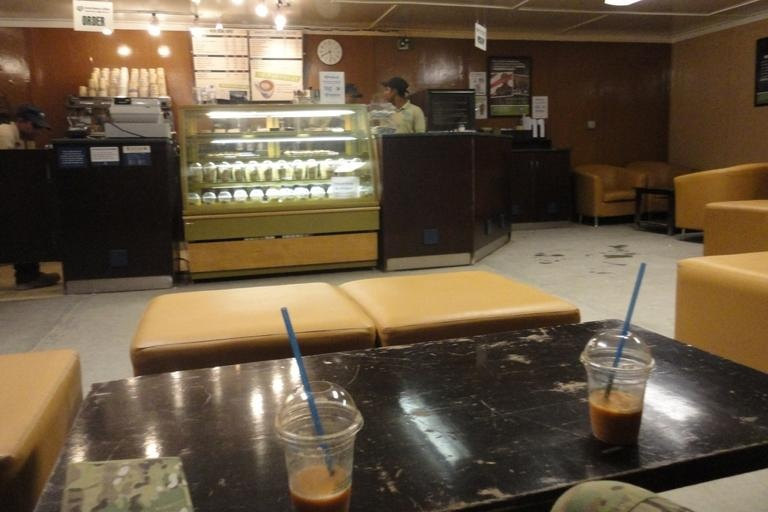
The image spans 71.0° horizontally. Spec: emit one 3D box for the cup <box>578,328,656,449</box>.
[{"bbox_3d":[0.593,0.318,1.362,0.160,0.273,0.169,-3,14,1],"label":"cup"}]

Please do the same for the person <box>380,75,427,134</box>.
[{"bbox_3d":[0.240,-1.718,6.072,0.399,0.643,0.807,-3,12,0],"label":"person"}]

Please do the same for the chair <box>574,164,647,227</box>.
[{"bbox_3d":[3.306,-0.928,8.020,0.937,0.719,0.755,-7,20,-17],"label":"chair"}]

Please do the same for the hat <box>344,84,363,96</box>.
[{"bbox_3d":[-0.396,-2.212,7.164,0.174,0.155,0.435,-4,8,-13],"label":"hat"}]

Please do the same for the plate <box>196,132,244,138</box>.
[{"bbox_3d":[-1.436,-1.067,4.712,0.377,0.050,0.025,-3,14,-7],"label":"plate"}]

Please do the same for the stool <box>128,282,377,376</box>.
[{"bbox_3d":[-0.617,0.301,2.374,0.940,0.257,0.895,-8,14,-23],"label":"stool"}]

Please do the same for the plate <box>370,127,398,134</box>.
[{"bbox_3d":[0.014,-1.228,5.249,0.221,0.048,0.207,-1,7,-11],"label":"plate"}]

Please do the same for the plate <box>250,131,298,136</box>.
[{"bbox_3d":[-0.966,-1.104,4.825,0.414,0.064,0.058,-5,13,-15],"label":"plate"}]

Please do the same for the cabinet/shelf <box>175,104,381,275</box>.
[{"bbox_3d":[-0.947,-0.589,4.806,1.983,1.339,0.675,-2,2,-9],"label":"cabinet/shelf"}]
